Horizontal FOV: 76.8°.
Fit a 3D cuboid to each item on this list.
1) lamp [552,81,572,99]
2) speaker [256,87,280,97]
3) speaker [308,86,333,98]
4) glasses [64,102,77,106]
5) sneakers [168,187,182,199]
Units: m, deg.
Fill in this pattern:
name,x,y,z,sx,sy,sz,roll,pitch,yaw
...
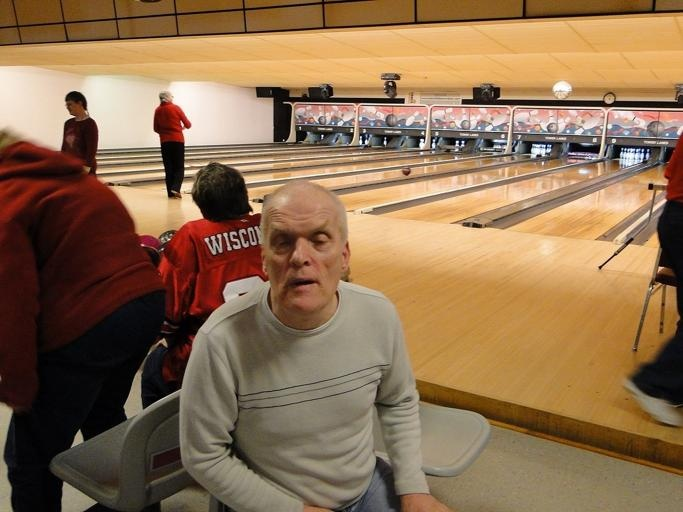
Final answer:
name,x,y,z,sx,sy,sz,roll,pitch,yaw
lamp,4.016,-3.067,7.852,0.247,0.328,0.441,7,17,28
speaker,-2.224,-4.775,12.481,0.415,0.226,0.197,-1,-2,-2
speaker,-0.558,-4.317,11.277,0.386,0.309,0.965,-7,15,-20
glasses,-2.515,-1.400,3.940,0.156,0.033,0.044,11,20,42
sneakers,-2.023,-0.739,5.128,0.106,0.167,0.073,11,40,-3
